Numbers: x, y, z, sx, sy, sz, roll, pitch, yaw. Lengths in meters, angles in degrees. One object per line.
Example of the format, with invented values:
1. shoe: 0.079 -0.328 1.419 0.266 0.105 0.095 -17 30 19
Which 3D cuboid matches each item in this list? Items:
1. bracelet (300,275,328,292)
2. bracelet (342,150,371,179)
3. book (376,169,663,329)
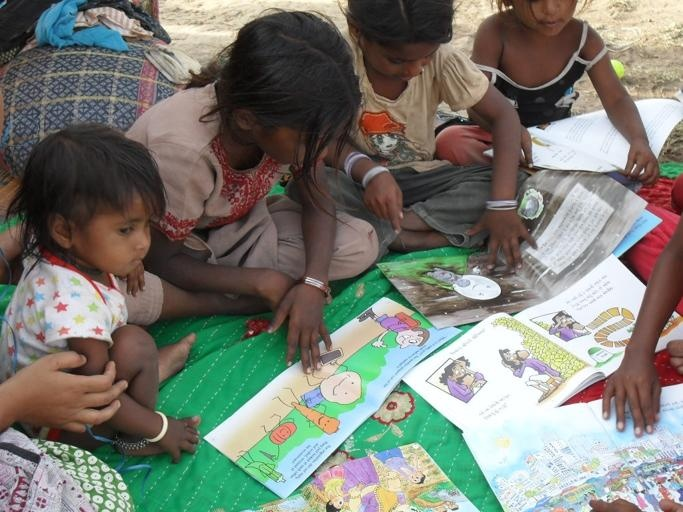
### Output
1. bracelet: -0.077 0.083 1.698 0.050 0.052 0.014 24 81 8
2. bracelet: 0.051 -0.323 1.996 0.082 0.060 0.083 -25 55 2
3. book: 0.608 -0.008 1.835 0.789 0.136 0.459 -27 41 -7
